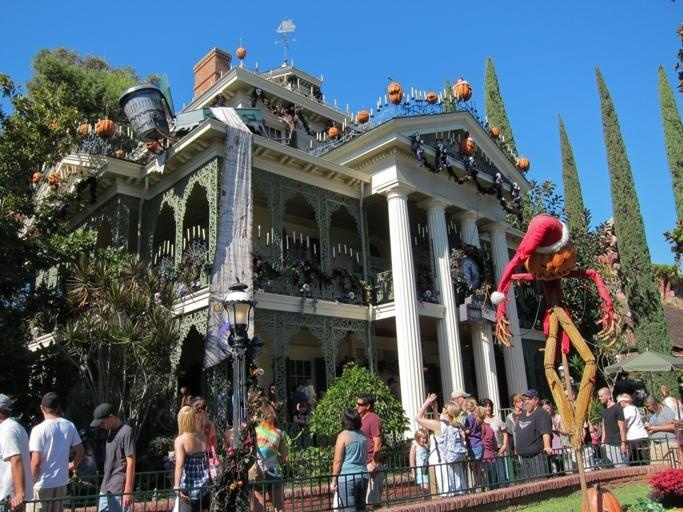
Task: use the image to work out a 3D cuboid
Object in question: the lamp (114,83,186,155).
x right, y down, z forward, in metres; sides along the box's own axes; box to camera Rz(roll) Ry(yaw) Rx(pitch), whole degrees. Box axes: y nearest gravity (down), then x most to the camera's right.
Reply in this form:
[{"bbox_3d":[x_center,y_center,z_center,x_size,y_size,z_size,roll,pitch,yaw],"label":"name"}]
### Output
[{"bbox_3d":[-5.721,-4.225,17.937,1.948,2.433,1.743,4,-7,-44],"label":"lamp"}]
